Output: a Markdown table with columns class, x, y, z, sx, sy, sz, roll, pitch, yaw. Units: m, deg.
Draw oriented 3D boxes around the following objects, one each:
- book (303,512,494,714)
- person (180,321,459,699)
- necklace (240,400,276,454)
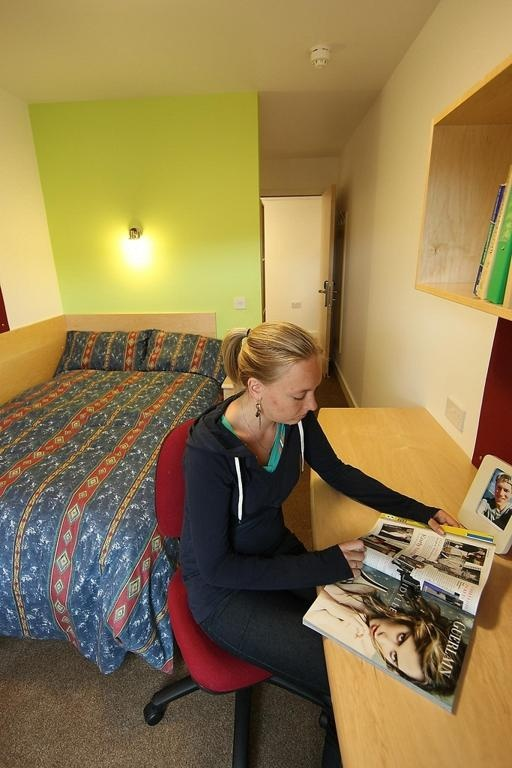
| class | x | y | z | sx | sy | sz | roll | pitch | yaw |
| --- | --- | --- | --- | --- | --- | --- | --- | --- | --- |
| book | 0.277 | 0.430 | 0.923 | 0.208 | 0.042 | 0.327 | 17 | 29 | 21 |
| person | 0.106 | 0.423 | 1.245 | 0.625 | 1.103 | 0.489 | 10 | 21 | 32 |
| necklace | 0.004 | 0.095 | 1.290 | 0.068 | 0.143 | 0.097 | -22 | 35 | -28 |
